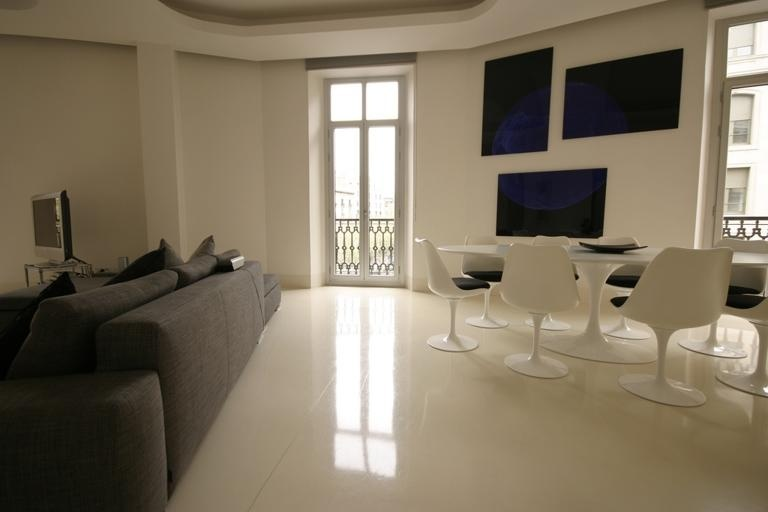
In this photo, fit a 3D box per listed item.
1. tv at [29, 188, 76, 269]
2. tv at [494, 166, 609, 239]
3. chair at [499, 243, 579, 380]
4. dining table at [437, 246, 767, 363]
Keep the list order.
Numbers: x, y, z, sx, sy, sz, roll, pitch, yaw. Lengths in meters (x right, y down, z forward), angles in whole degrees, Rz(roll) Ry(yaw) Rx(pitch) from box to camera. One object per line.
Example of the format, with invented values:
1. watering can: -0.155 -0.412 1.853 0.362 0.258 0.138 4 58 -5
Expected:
1. tv: -4.426 -0.393 6.585 1.031 1.086 0.171 4 1 39
2. tv: 2.281 -0.730 6.836 1.425 0.938 0.155 4 10 25
3. chair: 1.439 0.498 4.649 0.686 1.242 0.349 3 9 18
4. dining table: 2.036 0.501 4.933 1.734 0.733 1.753 6 10 41
